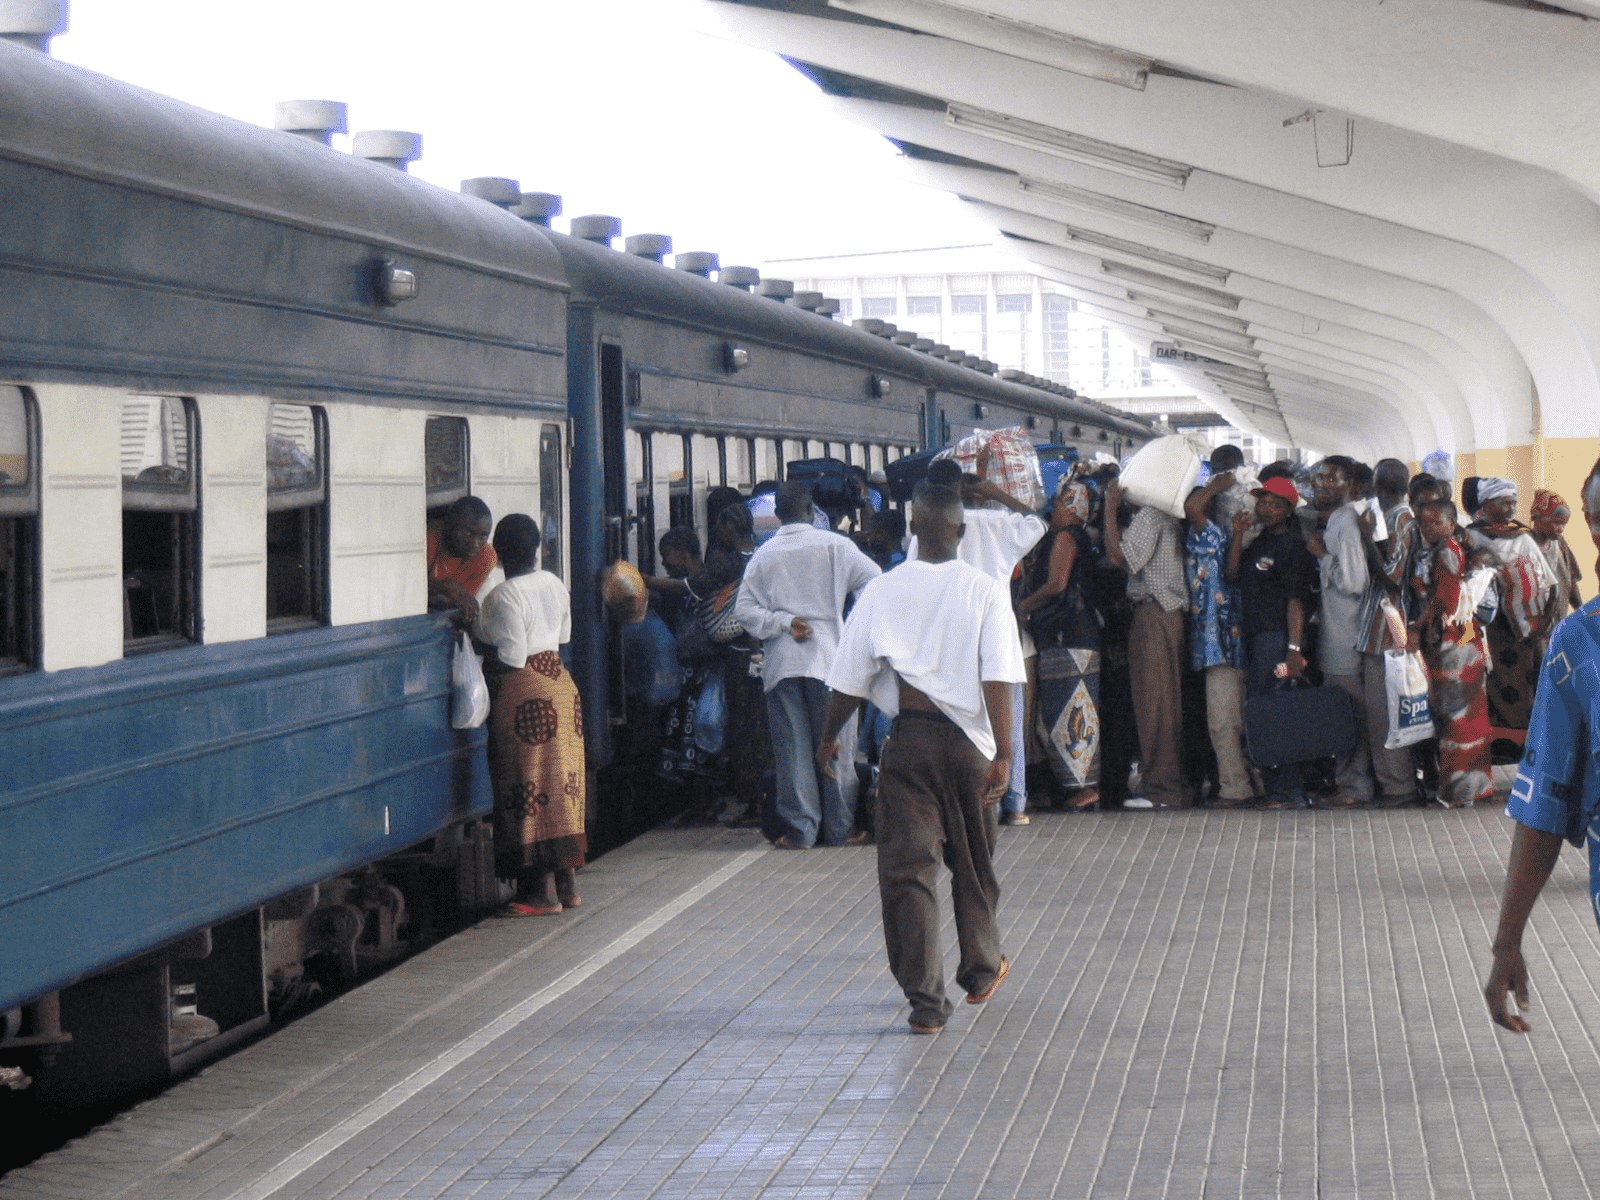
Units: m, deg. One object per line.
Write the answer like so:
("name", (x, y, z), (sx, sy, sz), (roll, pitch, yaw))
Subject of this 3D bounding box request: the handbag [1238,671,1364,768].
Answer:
("handbag", (3.360, 0.801, 9.103), (0.515, 0.562, 0.193), (-6, 1, 4))

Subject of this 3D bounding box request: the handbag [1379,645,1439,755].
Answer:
("handbag", (4.012, 0.646, 9.023), (0.642, 0.824, 0.242), (-2, 3, -43))

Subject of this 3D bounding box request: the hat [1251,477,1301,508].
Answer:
("hat", (3.300, -0.735, 9.376), (0.252, 0.170, 0.195), (10, 0, 0))

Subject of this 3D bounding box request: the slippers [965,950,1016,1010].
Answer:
("slippers", (0.820, 1.652, 5.926), (0.091, 0.139, 0.308), (3, 24, 22))

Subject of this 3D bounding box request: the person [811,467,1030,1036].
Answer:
("person", (0.543, 0.636, 5.717), (0.786, 2.230, 0.516), (-2, 3, 1))
